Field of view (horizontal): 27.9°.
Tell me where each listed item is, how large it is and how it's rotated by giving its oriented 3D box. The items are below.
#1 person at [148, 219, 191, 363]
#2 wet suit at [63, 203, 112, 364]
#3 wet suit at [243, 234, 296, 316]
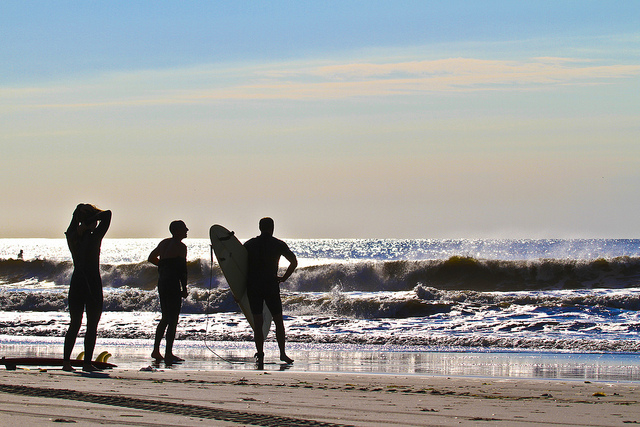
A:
[{"bbox_3d":[-2.921,1.528,24.389,0.723,2.759,0.619,0,2,-6],"label":"person"},{"bbox_3d":[-4.201,1.275,22.876,0.743,2.867,0.644,-1,3,-27],"label":"wet suit"},{"bbox_3d":[-1.019,1.167,24.171,0.854,1.522,0.518,0,2,-4],"label":"wet suit"}]
